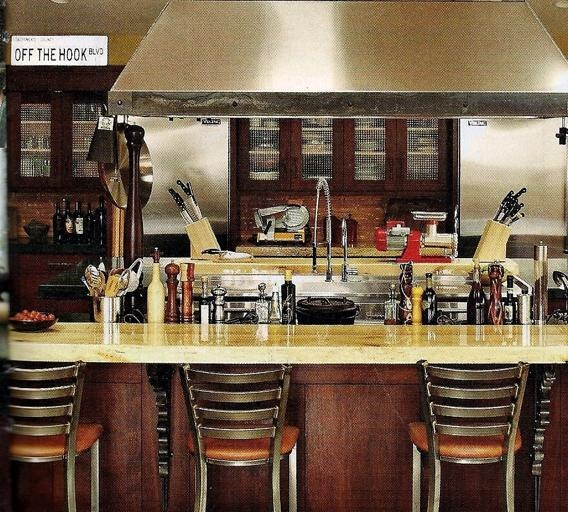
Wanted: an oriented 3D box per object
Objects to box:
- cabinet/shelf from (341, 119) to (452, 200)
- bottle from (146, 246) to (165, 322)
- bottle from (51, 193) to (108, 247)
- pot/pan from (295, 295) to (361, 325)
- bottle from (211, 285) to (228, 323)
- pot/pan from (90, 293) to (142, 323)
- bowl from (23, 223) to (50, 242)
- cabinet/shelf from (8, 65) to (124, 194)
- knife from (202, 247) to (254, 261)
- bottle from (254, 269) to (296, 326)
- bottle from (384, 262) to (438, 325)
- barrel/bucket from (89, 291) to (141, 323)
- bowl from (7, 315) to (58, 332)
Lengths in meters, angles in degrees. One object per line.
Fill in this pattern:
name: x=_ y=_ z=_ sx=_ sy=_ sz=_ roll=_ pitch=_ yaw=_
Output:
cabinet/shelf: x=0.882 y=-0.784 z=6.763 sx=0.897 sy=0.613 sz=0.179 roll=0 pitch=1 yaw=7
bottle: x=-0.569 y=0.133 z=3.757 sx=0.073 sy=0.327 sz=0.118 roll=0 pitch=1 yaw=-8
bottle: x=-1.638 y=-0.289 z=6.812 sx=0.372 sy=0.577 sz=0.137 roll=0 pitch=0 yaw=-12
pot/pan: x=0.202 y=0.257 z=3.912 sx=0.290 sy=0.120 sz=0.292 roll=0 pitch=1 yaw=0
bottle: x=-0.296 y=0.217 z=3.846 sx=0.056 sy=0.160 sz=0.236 roll=0 pitch=1 yaw=-4
pot/pan: x=-0.746 y=0.240 z=3.839 sx=0.149 sy=0.133 sz=0.306 roll=0 pitch=1 yaw=26
bowl: x=-2.022 y=-0.180 z=6.895 sx=0.159 sy=0.136 sz=0.164 roll=-1 pitch=0 yaw=0
cabinet/shelf: x=-1.582 y=-0.944 z=6.031 sx=1.060 sy=1.202 sz=0.395 roll=0 pitch=2 yaw=2
knife: x=-0.374 y=-0.012 z=5.443 sx=0.313 sy=0.068 sz=0.478 roll=-1 pitch=2 yaw=-42
bottle: x=-0.042 y=0.178 z=3.888 sx=0.209 sy=0.323 sz=0.206 roll=0 pitch=3 yaw=0
bottle: x=0.578 y=0.171 z=3.882 sx=0.218 sy=0.284 sz=0.303 roll=0 pitch=1 yaw=19
barrel/bucket: x=-0.760 y=0.229 z=3.805 sx=0.159 sy=0.129 sz=0.123 roll=3 pitch=-3 yaw=-41
bowl: x=-1.039 y=0.279 z=3.497 sx=0.223 sy=0.068 sz=0.143 roll=-1 pitch=1 yaw=-37
